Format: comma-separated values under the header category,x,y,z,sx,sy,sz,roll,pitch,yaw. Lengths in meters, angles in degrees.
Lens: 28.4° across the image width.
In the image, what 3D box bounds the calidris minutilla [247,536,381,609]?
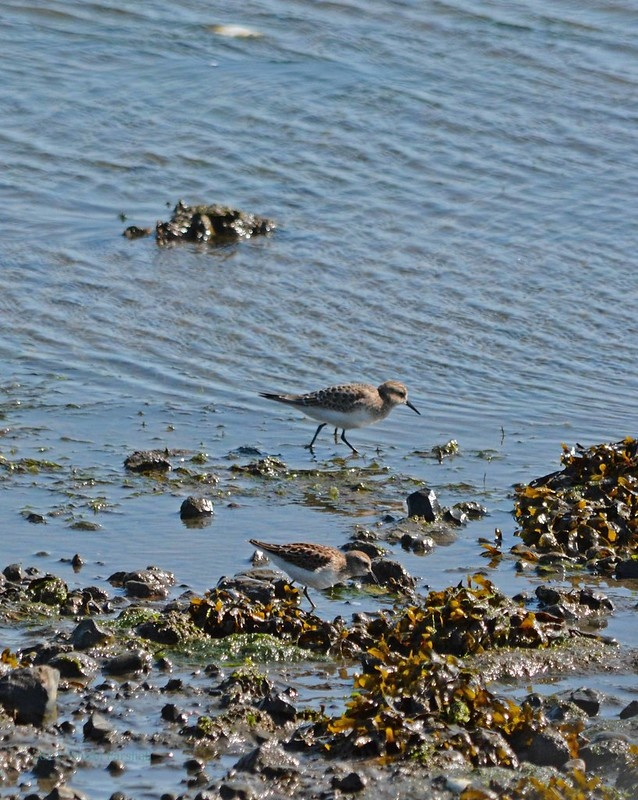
category,x,y,z,sx,sy,sz,roll,pitch,yaw
calidris minutilla,-0.057,1.115,8.826,0.993,0.413,0.306,23,5,26
